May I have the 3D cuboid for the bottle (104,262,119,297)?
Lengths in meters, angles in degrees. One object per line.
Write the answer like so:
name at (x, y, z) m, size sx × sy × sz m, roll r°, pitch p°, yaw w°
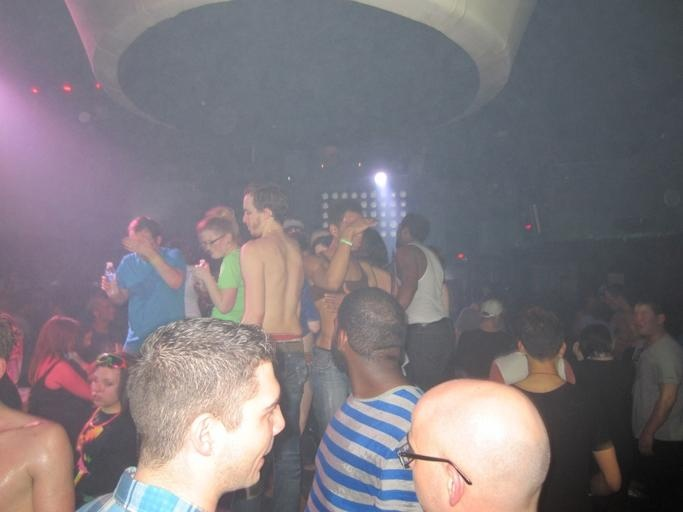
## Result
bottle at (-2.553, 0.202, 6.173) m, size 0.150 × 0.348 × 0.281 m, roll 11°, pitch -22°, yaw -24°

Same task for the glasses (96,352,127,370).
glasses at (-2.125, 0.966, 5.156) m, size 0.280 × 0.167 × 0.150 m, roll 8°, pitch -21°, yaw -14°

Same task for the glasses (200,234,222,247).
glasses at (-1.371, -0.160, 5.797) m, size 0.248 × 0.110 × 0.078 m, roll -10°, pitch -23°, yaw 28°

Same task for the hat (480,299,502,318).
hat at (1.786, 0.614, 6.546) m, size 0.248 × 0.267 × 0.212 m, roll -1°, pitch -20°, yaw 9°
